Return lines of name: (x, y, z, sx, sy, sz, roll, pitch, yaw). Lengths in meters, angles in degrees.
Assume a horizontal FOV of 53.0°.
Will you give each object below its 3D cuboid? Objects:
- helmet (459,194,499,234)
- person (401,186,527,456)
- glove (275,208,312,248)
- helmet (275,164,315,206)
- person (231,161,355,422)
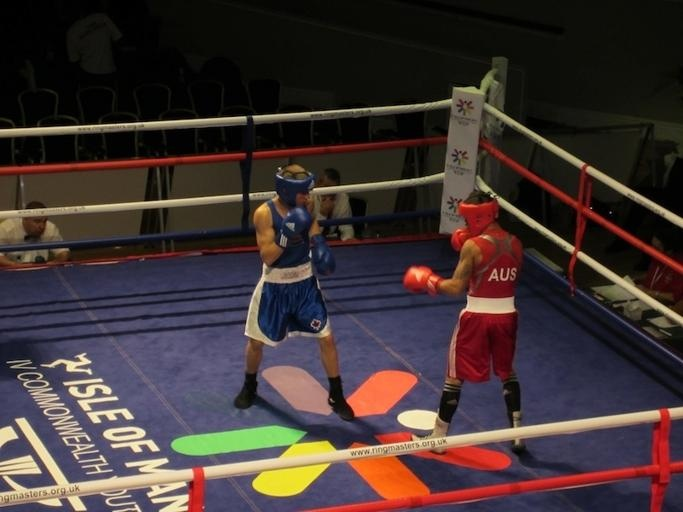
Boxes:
helmet: (0.697, -0.206, 3.466, 0.225, 0.176, 0.176, 6, 12, 13)
person: (0.659, 0.292, 3.501, 0.548, 1.185, 0.474, -7, 21, -15)
glove: (-0.253, -0.154, 3.631, 0.181, 0.213, 0.194, -3, 19, -4)
helmet: (-0.229, -0.387, 3.722, 0.259, 0.223, 0.190, 0, 19, 4)
person: (-0.283, 0.202, 3.753, 0.671, 1.357, 0.495, -1, 20, 0)
